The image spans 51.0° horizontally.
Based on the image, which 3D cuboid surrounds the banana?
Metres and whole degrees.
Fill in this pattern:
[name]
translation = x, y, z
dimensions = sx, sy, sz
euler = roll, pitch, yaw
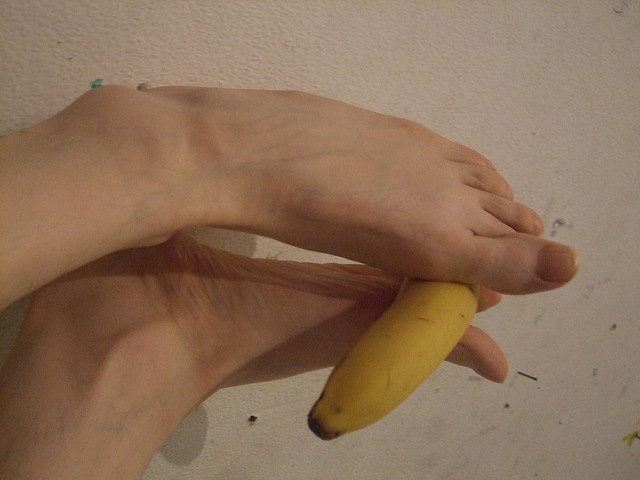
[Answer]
[banana]
translation = 0.097, 0.143, 0.848
dimensions = 0.233, 0.065, 0.144
euler = -36, 65, -9
